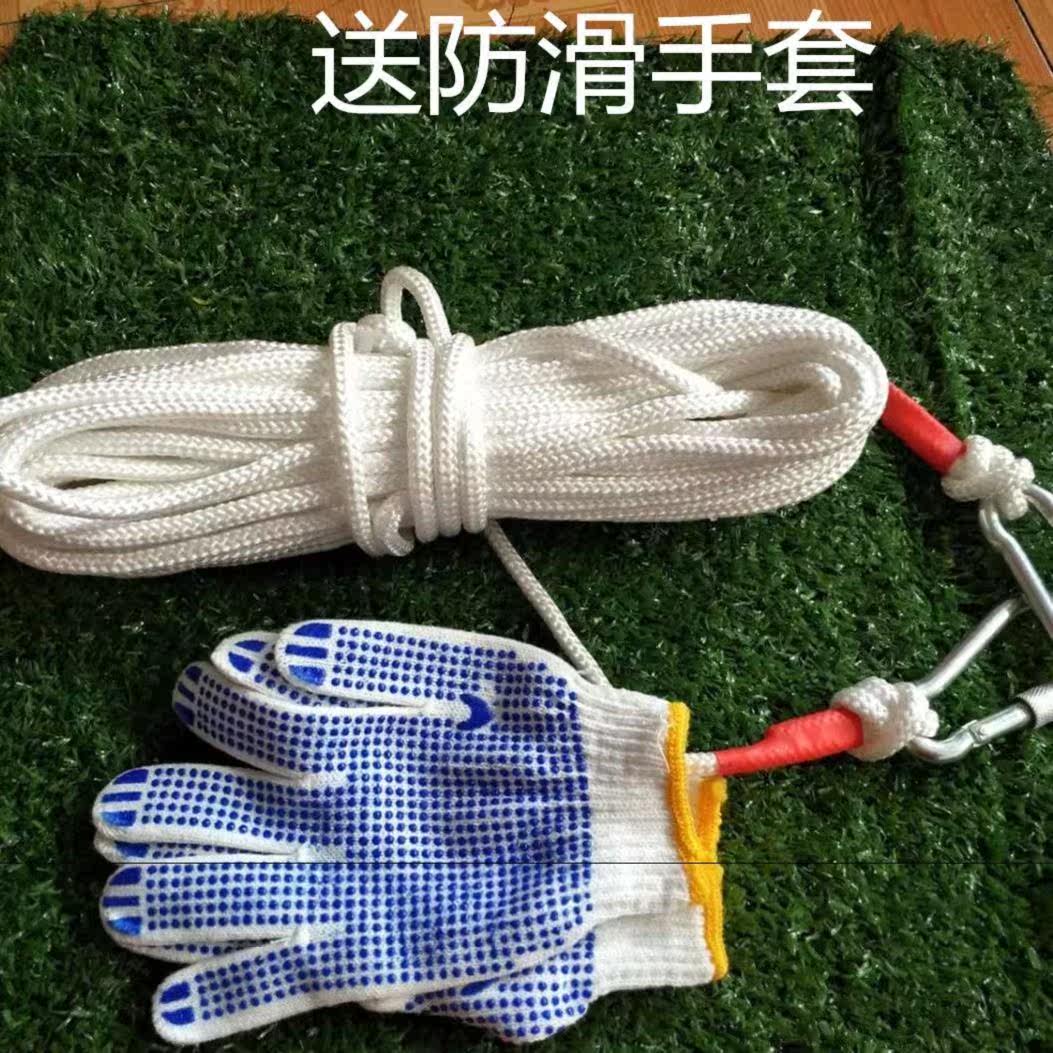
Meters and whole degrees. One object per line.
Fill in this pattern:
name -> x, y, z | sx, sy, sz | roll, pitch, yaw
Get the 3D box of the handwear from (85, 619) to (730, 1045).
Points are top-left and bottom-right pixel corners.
handwear -> -0.102, 0.269, 1.141 | 0.566, 0.123, 0.391 | -7, 64, -7
